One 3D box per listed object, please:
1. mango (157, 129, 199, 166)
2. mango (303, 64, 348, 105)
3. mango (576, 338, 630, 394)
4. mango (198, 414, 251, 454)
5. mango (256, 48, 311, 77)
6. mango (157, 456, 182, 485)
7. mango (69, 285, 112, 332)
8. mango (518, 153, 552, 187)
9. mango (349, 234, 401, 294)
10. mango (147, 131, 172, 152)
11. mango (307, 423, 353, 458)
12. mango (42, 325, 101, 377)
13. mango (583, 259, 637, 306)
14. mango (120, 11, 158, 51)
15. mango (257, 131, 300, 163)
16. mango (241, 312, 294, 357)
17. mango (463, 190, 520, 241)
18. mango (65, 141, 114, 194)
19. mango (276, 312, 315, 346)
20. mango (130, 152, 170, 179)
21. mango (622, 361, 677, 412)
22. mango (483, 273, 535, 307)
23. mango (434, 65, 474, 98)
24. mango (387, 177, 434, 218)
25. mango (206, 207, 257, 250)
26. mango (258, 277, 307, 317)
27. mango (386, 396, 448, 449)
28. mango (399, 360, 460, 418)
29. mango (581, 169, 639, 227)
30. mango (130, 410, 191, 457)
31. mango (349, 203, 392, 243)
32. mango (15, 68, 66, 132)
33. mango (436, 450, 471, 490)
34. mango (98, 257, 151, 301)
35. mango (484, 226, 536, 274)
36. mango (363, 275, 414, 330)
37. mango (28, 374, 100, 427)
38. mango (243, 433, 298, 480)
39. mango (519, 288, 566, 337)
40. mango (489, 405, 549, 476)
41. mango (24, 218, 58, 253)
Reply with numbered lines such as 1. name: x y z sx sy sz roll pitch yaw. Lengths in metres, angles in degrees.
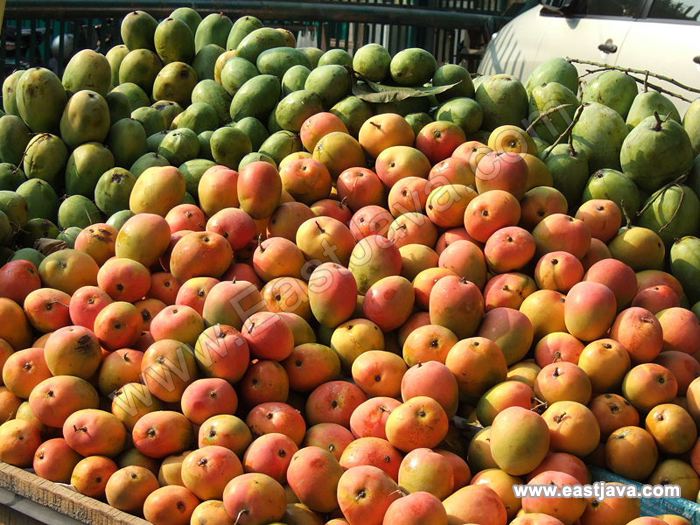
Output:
1. mango: -1.473 -1.003 6.036 0.330 0.293 0.248 -34 31 -24
2. mango: -0.202 -1.582 6.123 0.357 0.301 0.302 -24 60 -25
3. mango: 1.475 0.581 4.189 0.247 0.363 0.281 6 13 7
4. mango: -0.663 0.922 3.755 0.231 0.225 0.203 16 -37 -42
5. mango: -0.638 -1.905 6.640 0.389 0.301 0.294 0 -8 -5
6. mango: -0.955 1.105 3.747 0.107 0.168 0.124 0 -8 3
7. mango: -1.611 0.251 4.341 0.230 0.325 0.212 -5 13 -41
8. mango: 1.336 -0.659 5.093 0.174 0.198 0.256 2 59 -26
9. mango: 0.199 0.009 4.643 0.290 0.350 0.414 0 50 22
10. mango: -1.684 -1.079 6.282 0.167 0.146 0.227 1 29 38
11. mango: -0.110 0.965 3.913 0.173 0.205 0.169 -36 37 -25
12. mango: -1.624 0.504 4.222 0.254 0.354 0.279 6 25 8
13. mango: 1.655 0.110 4.469 0.261 0.360 0.282 12 -21 23
14. mango: -2.324 -2.501 7.609 0.370 0.427 0.402 -11 33 -26
15. mango: -0.587 -0.961 5.835 0.282 0.280 0.240 -14 -10 -4
16. mango: -0.476 0.441 4.107 0.302 0.281 0.181 -7 23 -10
17. mango: 0.948 -0.321 4.785 0.342 0.305 0.272 -26 -11 -21
18. mango: -2.171 -0.770 5.959 0.310 0.435 0.348 35 16 -36
19. mango: -0.338 0.430 4.383 0.177 0.199 0.220 5 29 -27
20. mango: -1.600 -0.774 5.644 0.187 0.249 0.191 32 1 12
21. mango: 1.728 0.701 4.106 0.232 0.286 0.260 7 22 -33
22. mango: 1.018 0.179 4.509 0.240 0.172 0.216 0 30 5
23. mango: 0.919 -1.600 6.205 0.360 0.267 0.417 12 29 27
24. mango: 0.436 -0.461 5.033 0.234 0.291 0.255 7 -3 -44
25. mango: -0.801 -0.184 4.796 0.268 0.277 0.319 -25 46 24
26. mango: -0.420 0.229 4.470 0.243 0.235 0.246 38 18 -21
27. mango: 0.358 0.886 3.781 0.329 0.257 0.197 -3 23 -2
28. mango: 0.469 0.667 4.050 0.279 0.373 0.272 -20 7 -43
29. mango: 1.996 -0.511 5.399 0.343 0.510 0.363 -2 9 22
30. mango: -1.008 0.916 3.795 0.255 0.241 0.213 -1 6 -22
31. mango: 0.145 -0.285 4.921 0.235 0.267 0.249 -32 1 -32
32. mango: -2.778 -1.447 6.102 0.233 0.476 0.262 -7 5 26
33. mango: 0.554 1.112 3.770 0.159 0.181 0.211 14 48 14
34. mango: -1.420 0.109 4.453 0.231 0.318 0.275 -11 -4 -12
35. mango: 1.063 -0.098 4.632 0.269 0.281 0.294 5 53 35
36. mango: 0.272 0.268 4.465 0.331 0.254 0.251 -43 71 -10
37. mango: -1.639 0.761 4.065 0.336 0.277 0.258 -25 -15 -49
38. mango: -0.414 0.991 3.749 0.247 0.251 0.226 14 7 35
39. mango: 1.204 0.294 4.490 0.242 0.310 0.255 8 11 -8
40. mango: 0.898 0.978 3.778 0.282 0.398 0.307 -13 -19 40
41. mango: -2.426 -0.214 5.537 0.169 0.218 0.239 -12 -1 33
